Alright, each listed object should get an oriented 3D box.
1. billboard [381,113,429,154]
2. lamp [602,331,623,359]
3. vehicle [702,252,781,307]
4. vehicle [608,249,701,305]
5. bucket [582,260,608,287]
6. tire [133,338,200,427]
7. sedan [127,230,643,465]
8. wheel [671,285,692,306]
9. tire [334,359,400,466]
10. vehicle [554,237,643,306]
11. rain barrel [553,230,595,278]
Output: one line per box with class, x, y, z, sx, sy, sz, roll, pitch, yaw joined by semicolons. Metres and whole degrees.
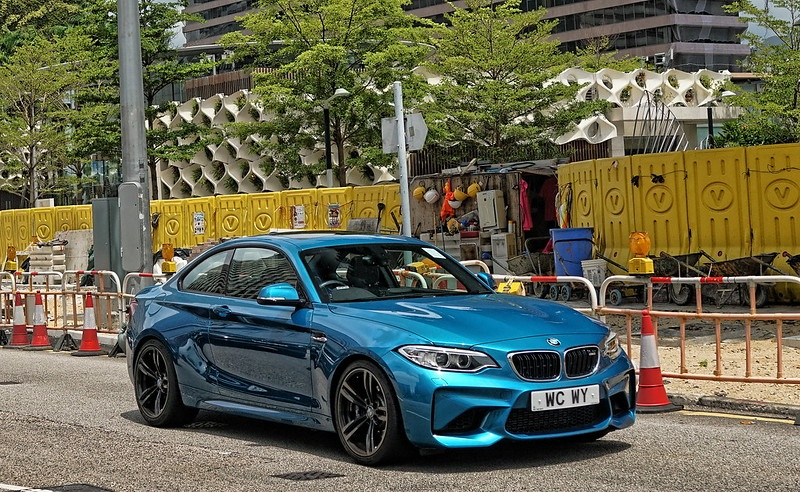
billboard;0.084;-2.037;16.212;0.894;0.652;0.101;-8;18;-17
lamp;2.364;1.115;9.986;0.216;0.310;0.108;-9;7;-37
vehicle;7.823;0.841;21.335;0.904;1.174;2.761;4;-4;-37
vehicle;6.628;0.720;21.916;1.935;0.952;1.297;0;1;-37
bucket;4.645;0.637;21.341;0.640;0.661;0.647;-2;-2;0
tire;-3.082;1.781;11.791;0.430;1.101;1.072;6;14;-45
sedan;-0.420;1.115;10.615;5.793;2.395;1.709;1;7;31
wheel;6.836;1.182;21.625;0.253;0.710;0.622;-2;1;-36
tire;-0.349;1.813;9.760;0.875;1.172;0.222;3;8;43
vehicle;5.424;0.519;23.778;2.297;2.280;1.655;1;3;34
rain barrel;4.492;0.118;24.062;1.119;1.713;1.151;2;-4;0
